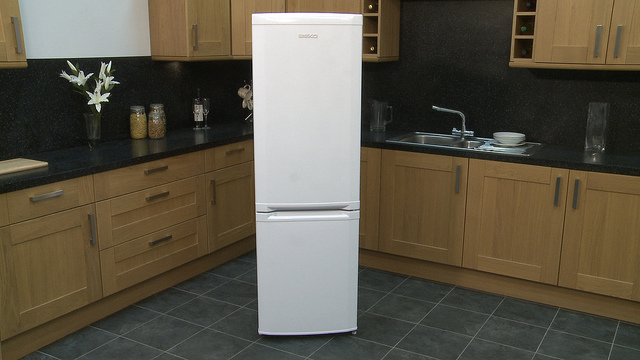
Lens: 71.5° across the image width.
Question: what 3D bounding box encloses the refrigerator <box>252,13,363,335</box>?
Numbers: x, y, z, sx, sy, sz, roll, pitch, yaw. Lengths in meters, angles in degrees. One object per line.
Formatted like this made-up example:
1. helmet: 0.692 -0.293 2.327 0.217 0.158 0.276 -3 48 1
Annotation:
1. refrigerator: -0.103 0.004 3.733 0.871 2.662 0.670 0 19 4

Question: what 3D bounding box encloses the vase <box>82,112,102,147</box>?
1. vase: -2.195 -0.480 4.294 0.153 0.326 0.100 4 19 15

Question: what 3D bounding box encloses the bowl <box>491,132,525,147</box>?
1. bowl: 1.954 -0.426 4.587 0.275 0.113 0.271 -1 17 0

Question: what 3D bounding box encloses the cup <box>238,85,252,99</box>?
1. cup: -0.871 -1.071 5.360 0.210 0.178 0.142 3 5 13

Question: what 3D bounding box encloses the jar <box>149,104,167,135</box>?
1. jar: -1.738 -0.666 4.794 0.159 0.306 0.306 -7 19 -17

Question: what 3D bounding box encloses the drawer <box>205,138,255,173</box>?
1. drawer: -0.949 -0.252 4.700 0.397 0.250 0.635 8 14 35

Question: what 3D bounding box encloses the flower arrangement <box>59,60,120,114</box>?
1. flower arrangement: -2.184 -0.878 4.343 0.546 0.480 0.566 11 12 43

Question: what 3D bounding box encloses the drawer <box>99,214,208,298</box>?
1. drawer: -1.597 0.712 4.237 0.653 0.444 1.114 5 11 32

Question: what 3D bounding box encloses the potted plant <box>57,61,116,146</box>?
1. potted plant: -2.221 -0.724 4.332 0.591 0.751 0.518 -4 16 -29

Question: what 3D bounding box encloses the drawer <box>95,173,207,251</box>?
1. drawer: -1.839 0.200 4.427 0.805 0.435 1.142 18 24 32

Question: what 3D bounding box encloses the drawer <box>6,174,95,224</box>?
1. drawer: -2.204 0.153 3.654 0.385 0.149 0.519 6 13 37

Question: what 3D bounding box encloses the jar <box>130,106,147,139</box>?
1. jar: -1.888 -0.598 4.626 0.172 0.327 0.114 -4 19 -9

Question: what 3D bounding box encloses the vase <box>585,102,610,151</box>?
1. vase: 2.715 -0.523 4.350 0.180 0.458 0.145 5 19 16
